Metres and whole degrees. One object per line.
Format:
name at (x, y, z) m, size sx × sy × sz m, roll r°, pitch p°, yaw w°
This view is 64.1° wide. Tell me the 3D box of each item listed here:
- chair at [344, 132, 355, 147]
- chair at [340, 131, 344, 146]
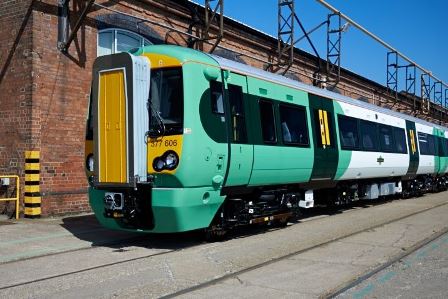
chair at (4.404, -0.332, 12.478) m, size 0.343 × 0.448 × 0.585 m, roll -1°, pitch -2°, yaw 4°
chair at (3.992, -0.359, 12.074) m, size 0.148 × 0.415 × 0.321 m, roll -3°, pitch -1°, yaw 24°
